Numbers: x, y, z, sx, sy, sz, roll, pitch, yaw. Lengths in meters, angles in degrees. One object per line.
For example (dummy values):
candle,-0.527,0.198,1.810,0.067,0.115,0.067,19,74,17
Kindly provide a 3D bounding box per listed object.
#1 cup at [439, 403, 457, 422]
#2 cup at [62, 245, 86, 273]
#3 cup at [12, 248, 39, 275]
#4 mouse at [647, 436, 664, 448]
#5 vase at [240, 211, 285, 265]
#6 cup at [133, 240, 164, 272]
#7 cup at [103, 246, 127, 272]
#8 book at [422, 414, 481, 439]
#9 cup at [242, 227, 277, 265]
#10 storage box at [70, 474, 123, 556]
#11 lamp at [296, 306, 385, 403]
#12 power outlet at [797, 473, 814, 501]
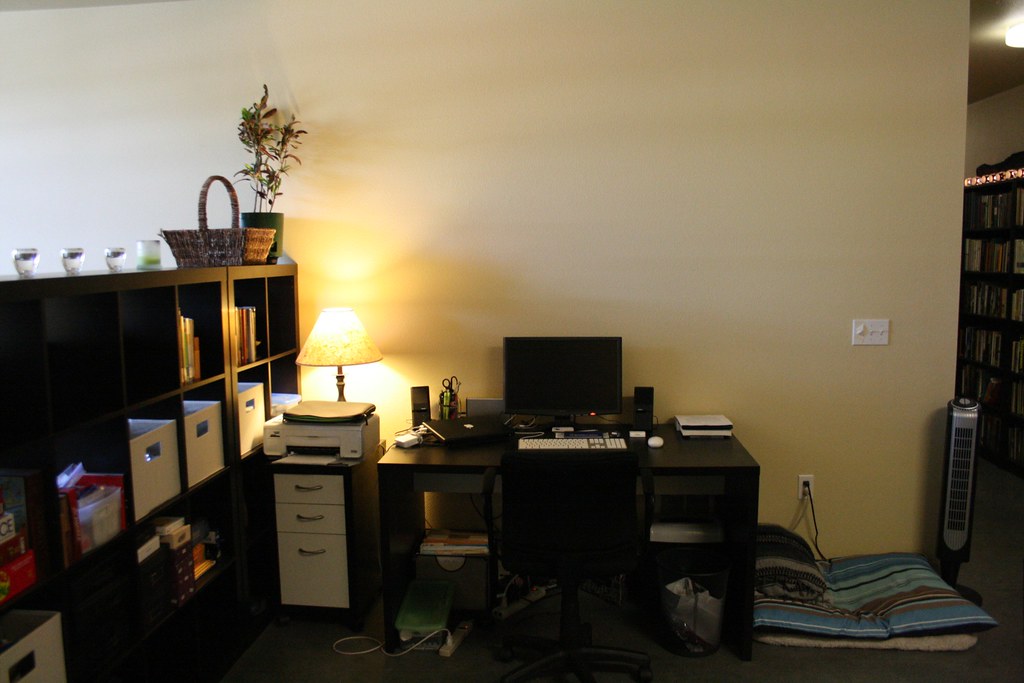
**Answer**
cup,-0.387,0.429,4.652,0.080,0.083,0.080,1,-1,0
cup,-2.022,-0.371,3.557,0.075,0.114,0.182,-5,6,-31
cup,-2.116,-0.341,3.362,0.078,0.120,0.146,-6,7,-36
mouse,0.800,0.562,4.353,0.058,0.031,0.058,2,15,20
vase,-1.470,-0.615,4.549,0.262,0.312,0.267,-4,14,-20
cup,-1.859,-0.442,3.970,0.139,0.165,0.140,2,2,0
cup,-1.952,-0.405,3.798,0.077,0.118,0.199,-5,6,-27
book,-0.333,0.496,4.389,0.161,0.043,0.161,-4,16,-24
cup,-1.437,-0.537,4.374,0.173,0.171,0.199,-1,4,-25
storage box,-1.859,0.774,3.479,0.213,0.315,0.216,-5,6,-29
lamp,-1.006,0.033,4.796,0.506,0.771,0.546,-1,7,10
power outlet,1.785,0.879,4.719,0.097,0.145,0.016,-2,5,0
